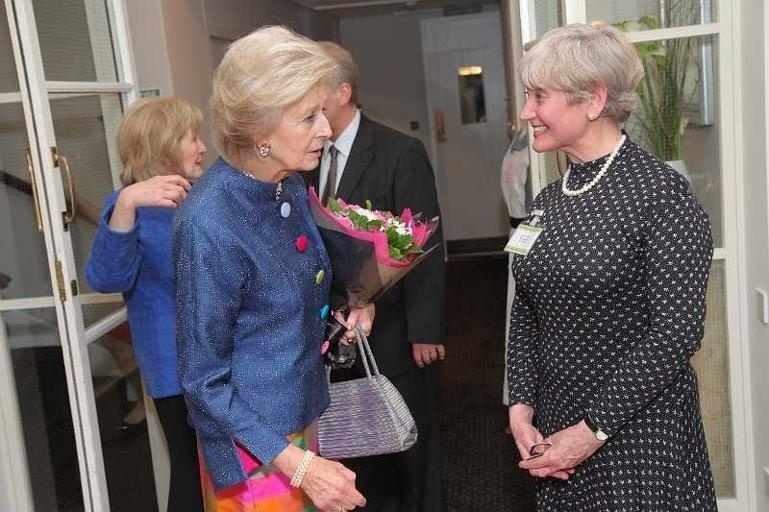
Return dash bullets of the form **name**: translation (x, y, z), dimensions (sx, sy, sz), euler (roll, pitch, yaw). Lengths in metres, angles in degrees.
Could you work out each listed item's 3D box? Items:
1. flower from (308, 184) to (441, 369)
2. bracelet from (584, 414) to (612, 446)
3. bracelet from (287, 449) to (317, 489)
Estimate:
- **flower**: translation (-0.136, 0.045, 2.184), dimensions (0.475, 0.522, 0.505), euler (31, 12, 36)
- **bracelet**: translation (0.649, 0.531, 1.876), dimensions (0.046, 0.070, 0.076), euler (-41, 18, -8)
- **bracelet**: translation (-0.233, 0.598, 1.724), dimensions (0.025, 0.087, 0.078), euler (26, -30, -11)
